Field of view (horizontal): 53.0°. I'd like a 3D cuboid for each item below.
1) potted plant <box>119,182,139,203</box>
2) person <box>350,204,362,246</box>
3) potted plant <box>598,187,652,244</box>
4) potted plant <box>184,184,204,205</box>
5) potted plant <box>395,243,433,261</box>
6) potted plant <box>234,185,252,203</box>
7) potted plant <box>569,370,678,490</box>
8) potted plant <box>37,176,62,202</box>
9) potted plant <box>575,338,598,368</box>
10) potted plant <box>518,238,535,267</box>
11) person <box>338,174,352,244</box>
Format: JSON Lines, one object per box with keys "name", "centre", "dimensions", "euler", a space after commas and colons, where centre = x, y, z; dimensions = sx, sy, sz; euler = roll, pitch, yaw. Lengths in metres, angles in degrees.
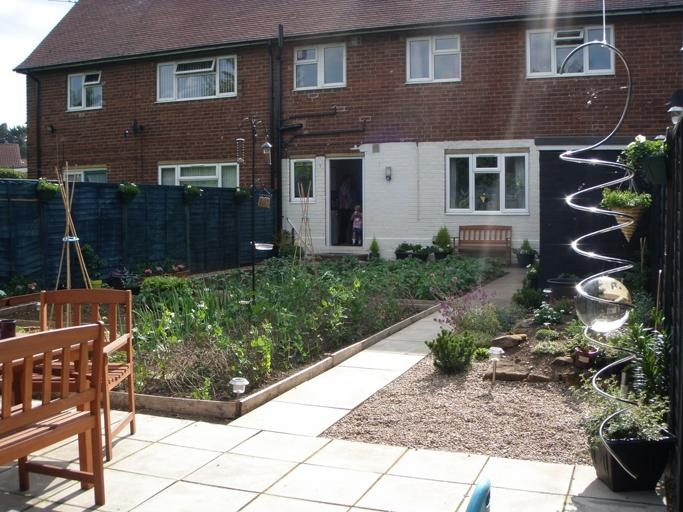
{"name": "potted plant", "centre": [-4.290, -1.265, 13.782], "dimensions": [0.314, 0.419, 0.388], "euler": [-1, 1, 17]}
{"name": "person", "centre": [0.427, -0.845, 18.688], "dimensions": [0.279, 1.069, 0.527], "euler": [-3, 4, 2]}
{"name": "potted plant", "centre": [4.041, -0.599, 9.707], "dimensions": [0.799, 0.960, 0.766], "euler": [0, 0, -31]}
{"name": "potted plant", "centre": [-3.337, -1.391, 15.479], "dimensions": [0.304, 0.392, 0.682], "euler": [-3, 5, 5]}
{"name": "potted plant", "centre": [1.844, -0.124, 17.325], "dimensions": [0.951, 0.434, 0.582], "euler": [-3, 5, 3]}
{"name": "potted plant", "centre": [-2.482, -1.531, 17.040], "dimensions": [0.511, 0.409, 0.505], "euler": [2, 5, -18]}
{"name": "potted plant", "centre": [2.351, 1.431, 5.639], "dimensions": [0.543, 0.626, 0.834], "euler": [-1, 2, 6]}
{"name": "potted plant", "centre": [-5.187, -1.166, 12.133], "dimensions": [0.388, 0.392, 0.480], "euler": [-5, 5, -25]}
{"name": "potted plant", "centre": [2.609, 1.044, 7.406], "dimensions": [0.243, 0.262, 0.334], "euler": [-6, 5, -27]}
{"name": "potted plant", "centre": [4.431, -0.071, 16.416], "dimensions": [0.431, 0.649, 0.391], "euler": [-3, 5, 3]}
{"name": "person", "centre": [0.120, -1.346, 19.557], "dimensions": [0.435, 1.892, 0.886], "euler": [-3, 4, 2]}
